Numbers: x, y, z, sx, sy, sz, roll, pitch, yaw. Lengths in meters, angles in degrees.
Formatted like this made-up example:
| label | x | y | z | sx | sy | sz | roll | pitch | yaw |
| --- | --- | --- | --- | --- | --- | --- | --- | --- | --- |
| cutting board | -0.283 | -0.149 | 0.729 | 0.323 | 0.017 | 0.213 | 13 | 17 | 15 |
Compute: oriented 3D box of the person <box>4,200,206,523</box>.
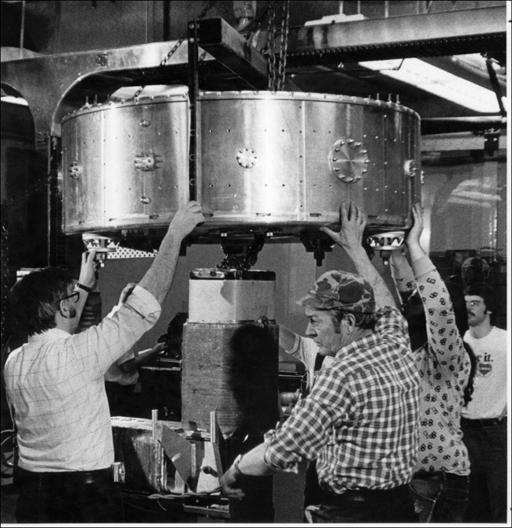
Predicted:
| label | x | y | z | sx | sy | sz | roll | pitch | yaw |
| --- | --- | --- | --- | --- | --- | --- | --- | --- | --- |
| person | -0.987 | 0.662 | 8.551 | 1.077 | 1.808 | 0.515 | 2 | 2 | 10 |

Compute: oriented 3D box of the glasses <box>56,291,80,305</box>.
| label | x | y | z | sx | sy | sz | roll | pitch | yaw |
| --- | --- | --- | --- | --- | --- | --- | --- | --- | --- |
| glasses | -1.136 | 0.197 | 8.738 | 0.092 | 0.030 | 0.090 | -16 | -1 | 5 |

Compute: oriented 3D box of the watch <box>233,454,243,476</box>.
| label | x | y | z | sx | sy | sz | roll | pitch | yaw |
| --- | --- | --- | --- | --- | --- | --- | --- | --- | --- |
| watch | -0.106 | 1.129 | 8.131 | 0.090 | 0.081 | 0.090 | 7 | -38 | 3 |

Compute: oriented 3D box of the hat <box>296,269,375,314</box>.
| label | x | y | z | sx | sy | sz | roll | pitch | yaw |
| --- | --- | --- | --- | --- | --- | --- | --- | --- | --- |
| hat | 0.476 | 0.181 | 8.268 | 0.321 | 0.163 | 0.242 | 9 | -4 | 5 |

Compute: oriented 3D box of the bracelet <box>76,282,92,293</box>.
| label | x | y | z | sx | sy | sz | roll | pitch | yaw |
| --- | --- | --- | --- | --- | --- | --- | --- | --- | --- |
| bracelet | -1.118 | 0.153 | 9.359 | 0.081 | 0.036 | 0.060 | 30 | -7 | -2 |

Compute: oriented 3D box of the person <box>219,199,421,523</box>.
| label | x | y | z | sx | sy | sz | roll | pitch | yaw |
| --- | --- | --- | --- | --- | --- | --- | --- | --- | --- |
| person | 0.483 | 0.582 | 8.214 | 1.078 | 1.841 | 0.557 | 0 | 3 | -29 |
